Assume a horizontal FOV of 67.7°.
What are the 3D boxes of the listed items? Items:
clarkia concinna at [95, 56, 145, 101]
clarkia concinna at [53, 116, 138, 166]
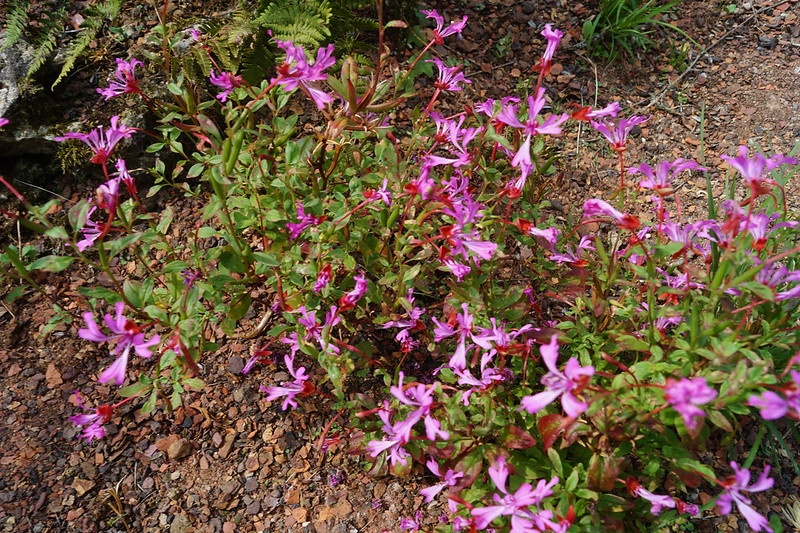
[{"bbox_3d":[-1.436,-0.988,3.121,0.191,0.173,0.094,-14,78,-23],"label":"clarkia concinna"},{"bbox_3d":[-1.480,-0.622,2.953,0.327,0.360,0.152,-6,81,11],"label":"clarkia concinna"}]
